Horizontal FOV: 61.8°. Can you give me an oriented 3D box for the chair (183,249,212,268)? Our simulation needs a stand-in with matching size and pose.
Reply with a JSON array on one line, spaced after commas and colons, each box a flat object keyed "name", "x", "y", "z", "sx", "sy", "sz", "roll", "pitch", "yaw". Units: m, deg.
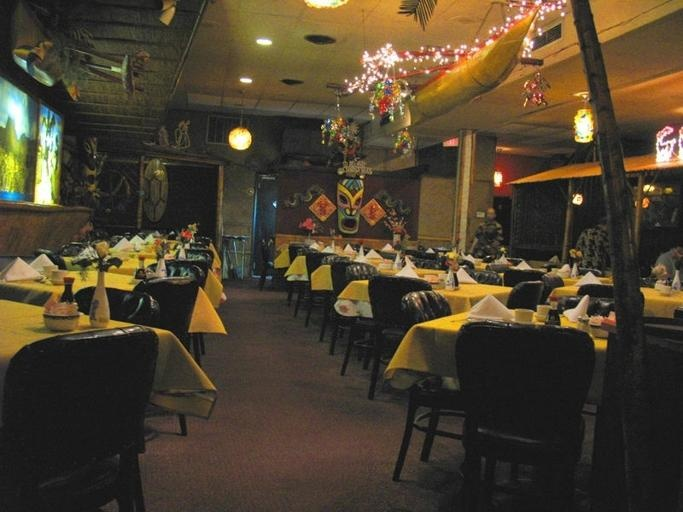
[{"name": "chair", "x": -1.587, "y": 0.000, "z": 6.344, "sx": 0.292, "sy": 0.153, "sz": 0.398, "roll": 1, "pitch": 9, "yaw": -9}]

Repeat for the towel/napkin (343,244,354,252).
[{"name": "towel/napkin", "x": 0.107, "y": -0.123, "z": 9.368, "sx": 0.135, "sy": 0.069, "sz": 0.138, "roll": 5, "pitch": 5, "yaw": 23}]

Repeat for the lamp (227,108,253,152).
[{"name": "lamp", "x": -2.182, "y": -2.756, "z": 12.269, "sx": 0.460, "sy": 1.000, "sz": 0.459, "roll": -15, "pitch": 3, "yaw": -16}]

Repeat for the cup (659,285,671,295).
[{"name": "cup", "x": 2.911, "y": 0.301, "z": 5.139, "sx": 0.083, "sy": 0.077, "sz": 0.085, "roll": -3, "pitch": 9, "yaw": 1}]

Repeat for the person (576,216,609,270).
[{"name": "person", "x": 4.128, "y": -0.180, "z": 9.343, "sx": 0.507, "sy": 0.887, "sz": 1.825, "roll": 5, "pitch": 6, "yaw": 24}]

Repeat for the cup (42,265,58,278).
[{"name": "cup", "x": -2.052, "y": 0.115, "z": 4.008, "sx": 0.074, "sy": 0.068, "sz": 0.096, "roll": 0, "pitch": -7, "yaw": 23}]

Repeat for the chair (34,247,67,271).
[{"name": "chair", "x": -2.379, "y": 0.028, "z": 4.652, "sx": 0.195, "sy": 0.208, "sz": 0.160, "roll": -22, "pitch": -12, "yaw": 5}]

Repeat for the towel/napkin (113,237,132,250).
[{"name": "towel/napkin", "x": -2.852, "y": -0.147, "z": 7.409, "sx": 0.174, "sy": 0.061, "sz": 0.175, "roll": 21, "pitch": 34, "yaw": 26}]

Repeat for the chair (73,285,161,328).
[{"name": "chair", "x": -1.248, "y": 0.274, "z": 2.976, "sx": 0.525, "sy": 0.207, "sz": 0.175, "roll": 10, "pitch": -11, "yaw": -38}]

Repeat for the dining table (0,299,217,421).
[{"name": "dining table", "x": -1.058, "y": 0.411, "z": 2.749, "sx": 0.538, "sy": 0.230, "sz": 0.872, "roll": -2, "pitch": 10, "yaw": -41}]

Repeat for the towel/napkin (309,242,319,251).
[{"name": "towel/napkin", "x": -0.472, "y": -0.157, "z": 9.581, "sx": 0.179, "sy": 0.052, "sz": 0.181, "roll": 3, "pitch": 14, "yaw": -2}]

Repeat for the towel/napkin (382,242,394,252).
[{"name": "towel/napkin", "x": 0.884, "y": -0.167, "z": 10.974, "sx": 0.280, "sy": 0.073, "sz": 0.298, "roll": 4, "pitch": 39, "yaw": 5}]

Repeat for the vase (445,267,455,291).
[{"name": "vase", "x": 0.938, "y": 0.189, "z": 4.874, "sx": 0.098, "sy": 0.162, "sz": 0.289, "roll": 3, "pitch": 6, "yaw": 11}]

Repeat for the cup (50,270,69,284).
[{"name": "cup", "x": -1.830, "y": 0.139, "z": 3.687, "sx": 0.087, "sy": 0.046, "sz": 0.098, "roll": 1, "pitch": -4, "yaw": 1}]

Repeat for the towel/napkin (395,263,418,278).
[{"name": "towel/napkin", "x": 0.610, "y": 0.152, "z": 5.284, "sx": 0.157, "sy": 0.091, "sz": 0.170, "roll": 3, "pitch": 5, "yaw": 13}]

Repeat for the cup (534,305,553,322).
[{"name": "cup", "x": 1.150, "y": 0.329, "z": 3.253, "sx": 0.086, "sy": 0.066, "sz": 0.088, "roll": 0, "pitch": 5, "yaw": 0}]

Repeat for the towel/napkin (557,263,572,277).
[{"name": "towel/napkin", "x": 2.758, "y": 0.190, "z": 7.026, "sx": 0.174, "sy": 0.133, "sz": 0.305, "roll": 2, "pitch": 6, "yaw": 18}]

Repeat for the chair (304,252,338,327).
[{"name": "chair", "x": -0.371, "y": 0.372, "z": 6.856, "sx": 0.480, "sy": 0.682, "sz": 0.470, "roll": 10, "pitch": 1, "yaw": 23}]

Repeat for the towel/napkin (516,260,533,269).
[{"name": "towel/napkin", "x": 2.631, "y": 0.127, "z": 8.193, "sx": 0.119, "sy": 0.152, "sz": 0.149, "roll": -2, "pitch": 2, "yaw": 10}]

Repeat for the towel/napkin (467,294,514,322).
[{"name": "towel/napkin", "x": 0.799, "y": 0.293, "z": 3.072, "sx": 0.162, "sy": 0.076, "sz": 0.163, "roll": -2, "pitch": 3, "yaw": -12}]

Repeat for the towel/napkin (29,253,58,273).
[{"name": "towel/napkin", "x": -2.188, "y": 0.061, "z": 4.186, "sx": 0.160, "sy": 0.071, "sz": 0.205, "roll": 1, "pitch": -4, "yaw": -36}]

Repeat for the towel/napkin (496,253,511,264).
[{"name": "towel/napkin", "x": 2.190, "y": 0.068, "z": 7.738, "sx": 0.232, "sy": 0.148, "sz": 0.237, "roll": 4, "pitch": 12, "yaw": 23}]

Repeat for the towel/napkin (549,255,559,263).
[{"name": "towel/napkin", "x": 4.138, "y": 0.060, "z": 11.096, "sx": 0.162, "sy": 0.049, "sz": 0.148, "roll": -22, "pitch": 33, "yaw": -29}]

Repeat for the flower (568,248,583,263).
[{"name": "flower", "x": 3.715, "y": -0.001, "z": 9.041, "sx": 0.171, "sy": 0.122, "sz": 0.278, "roll": 16, "pitch": -21, "yaw": 16}]

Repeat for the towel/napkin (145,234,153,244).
[{"name": "towel/napkin", "x": -3.085, "y": -0.263, "z": 9.126, "sx": 0.131, "sy": 0.120, "sz": 0.225, "roll": 13, "pitch": 11, "yaw": -13}]
